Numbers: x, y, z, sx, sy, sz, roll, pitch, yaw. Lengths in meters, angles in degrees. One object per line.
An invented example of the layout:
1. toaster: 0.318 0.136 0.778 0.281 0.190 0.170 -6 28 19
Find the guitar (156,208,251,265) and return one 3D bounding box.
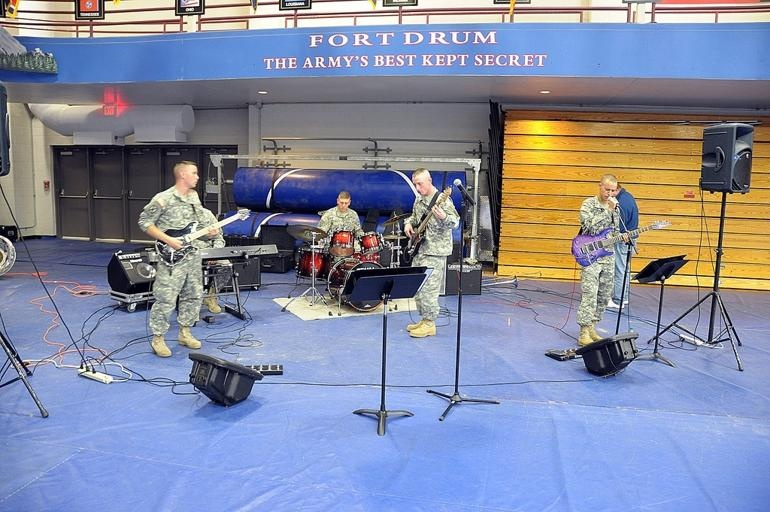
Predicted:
1. guitar: -2.464 -0.241 8.366 1.443 0.375 0.213 -25 6 -27

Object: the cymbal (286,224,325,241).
1. cymbal: -1.222 -0.372 9.540 0.415 0.069 0.349 -5 -26 21

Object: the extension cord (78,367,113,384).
1. extension cord: -3.373 1.390 7.215 0.349 0.059 0.167 7 1 21

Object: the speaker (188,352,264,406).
1. speaker: -1.765 1.381 6.914 0.726 0.407 0.739 5 -8 28

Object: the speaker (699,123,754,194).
1. speaker: 4.464 -1.277 8.110 0.607 0.900 0.427 5 13 20

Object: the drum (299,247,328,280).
1. drum: -1.186 0.134 10.050 0.605 0.384 0.503 6 9 5

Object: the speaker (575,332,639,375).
1. speaker: 2.727 1.216 7.629 0.668 0.395 0.603 -13 -12 40

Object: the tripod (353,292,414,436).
1. tripod: -0.033 1.056 6.857 0.648 1.427 1.285 0 11 -6

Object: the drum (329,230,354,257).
1. drum: -0.645 -0.153 9.428 0.522 0.393 0.369 5 45 -8

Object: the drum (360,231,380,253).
1. drum: -0.217 -0.199 9.737 0.392 0.200 0.334 -7 -16 16
